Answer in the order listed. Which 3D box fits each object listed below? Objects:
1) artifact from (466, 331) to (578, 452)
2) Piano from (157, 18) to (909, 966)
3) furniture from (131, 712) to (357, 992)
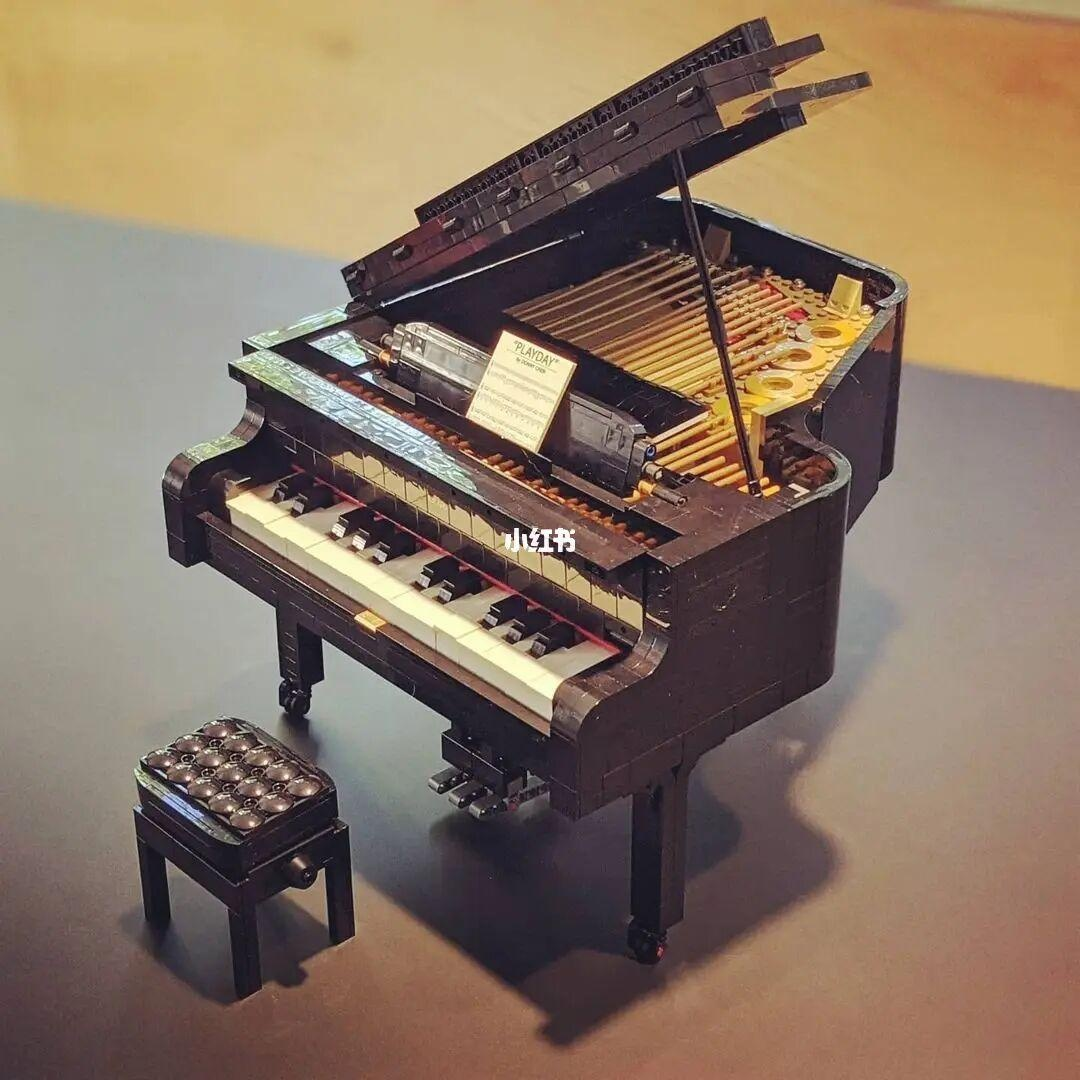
[{"bbox_3d":[-0.051,-0.453,3.843,0.449,0.354,0.104,28,13,31],"label":"artifact"},{"bbox_3d":[0.444,-0.333,4.681,2.786,3.066,2.463,-18,31,-32],"label":"Piano"},{"bbox_3d":[-0.968,1.099,4.102,0.634,0.853,0.463,21,34,37],"label":"furniture"}]
